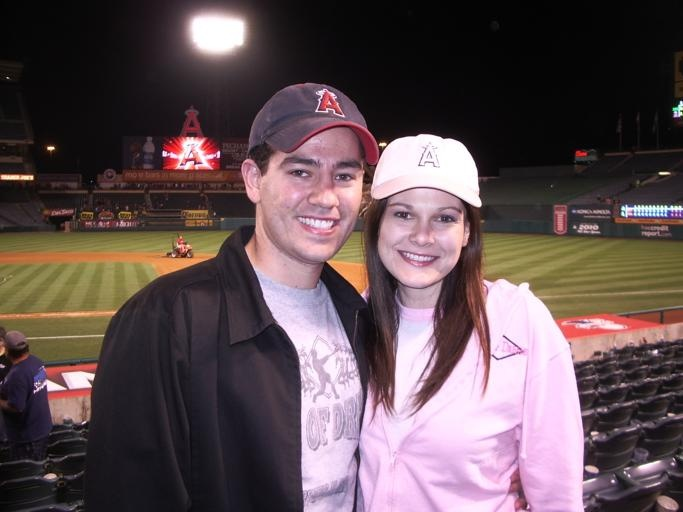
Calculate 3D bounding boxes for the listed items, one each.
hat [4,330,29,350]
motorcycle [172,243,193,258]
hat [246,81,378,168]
[{"bbox_3d":[-4.149,1.054,6.627,0.206,0.166,0.302,0,26,-37],"label":"hat"},{"bbox_3d":[-7.318,-0.242,23.542,0.996,0.603,0.492,-3,7,27],"label":"motorcycle"},{"bbox_3d":[-0.185,-0.601,2.866,0.559,0.401,0.752,-3,2,-36],"label":"hat"}]
